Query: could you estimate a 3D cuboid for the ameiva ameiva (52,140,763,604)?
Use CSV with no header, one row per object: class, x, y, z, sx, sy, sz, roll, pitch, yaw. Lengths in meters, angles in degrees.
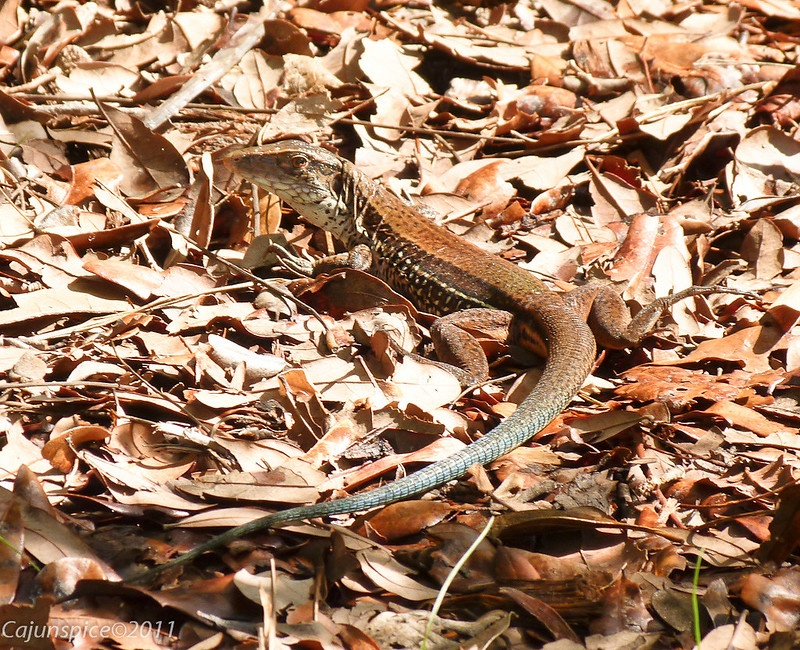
ameiva ameiva,0.254,-0.093,4.267,2.258,0.773,2.702,-2,47,-12
